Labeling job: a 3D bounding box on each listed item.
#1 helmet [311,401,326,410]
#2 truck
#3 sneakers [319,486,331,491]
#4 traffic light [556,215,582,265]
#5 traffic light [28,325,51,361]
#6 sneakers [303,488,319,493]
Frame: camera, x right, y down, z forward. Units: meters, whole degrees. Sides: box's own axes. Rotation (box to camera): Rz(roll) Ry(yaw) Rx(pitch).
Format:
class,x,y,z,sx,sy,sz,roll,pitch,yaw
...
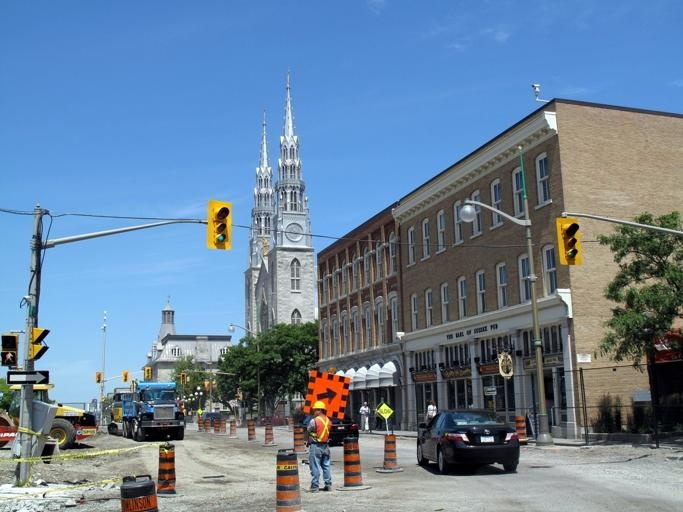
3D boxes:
class,x,y,z,sx,sy,sz,roll,pitch,yaw
helmet,-0.606,3.903,19.093,0.284,0.144,0.234,3,-5,38
truck,-11.387,9.475,44.182,2.323,2.763,6.883,3,-15,-19
sneakers,-0.416,5.956,18.726,0.110,0.135,0.322,5,-3,-44
traffic light,7.592,-0.588,24.417,0.693,1.762,1.019,-7,-15,15
traffic light,-8.987,2.587,21.673,0.484,1.085,0.987,4,-16,-23
sneakers,-0.775,6.024,18.689,0.348,0.143,0.147,0,-18,15
